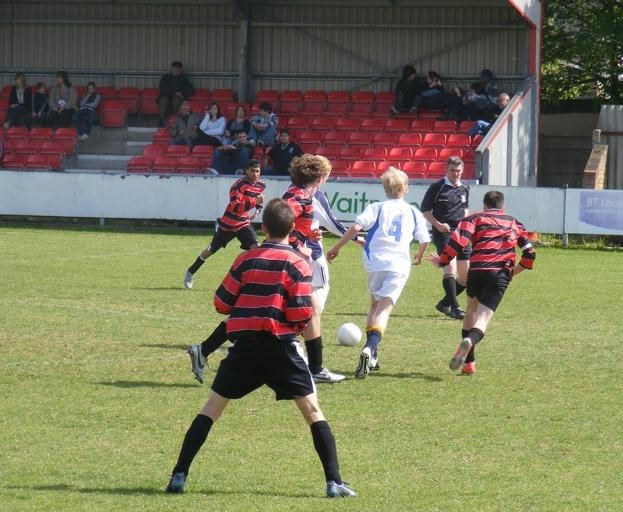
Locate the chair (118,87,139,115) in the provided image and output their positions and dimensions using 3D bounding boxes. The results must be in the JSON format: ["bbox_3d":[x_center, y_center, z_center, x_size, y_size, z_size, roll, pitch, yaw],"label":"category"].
[{"bbox_3d":[-4.743,-4.101,34.820,0.524,0.818,0.768,0,6,-2],"label":"chair"}]

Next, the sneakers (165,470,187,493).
[{"bbox_3d":[-1.515,2.582,15.059,0.158,0.223,0.132,23,11,5],"label":"sneakers"}]

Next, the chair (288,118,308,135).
[{"bbox_3d":[-0.323,-3.203,32.599,0.414,0.603,0.459,1,-2,1],"label":"chair"}]

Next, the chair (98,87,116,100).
[{"bbox_3d":[-5.386,-4.331,35.325,0.362,0.496,0.450,0,-4,-7],"label":"chair"}]

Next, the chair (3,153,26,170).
[{"bbox_3d":[-7.014,-2.240,31.574,0.519,0.333,0.990,3,6,-13],"label":"chair"}]

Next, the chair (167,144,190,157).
[{"bbox_3d":[-3.125,-2.481,31.486,0.555,0.279,0.451,4,5,-1],"label":"chair"}]

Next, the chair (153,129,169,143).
[{"bbox_3d":[-3.671,-2.968,32.830,0.393,0.346,0.595,4,6,-7],"label":"chair"}]

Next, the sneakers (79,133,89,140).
[{"bbox_3d":[-5.587,-2.945,32.837,0.232,0.108,0.103,-6,-17,29],"label":"sneakers"}]

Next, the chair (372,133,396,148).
[{"bbox_3d":[1.735,-2.767,31.557,0.414,0.436,0.332,0,-3,8],"label":"chair"}]

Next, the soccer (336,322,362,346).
[{"bbox_3d":[0.517,1.145,18.343,0.288,0.311,0.297,-1,37,-12],"label":"soccer"}]

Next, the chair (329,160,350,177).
[{"bbox_3d":[0.661,-1.967,29.963,0.375,0.405,0.371,0,-1,5],"label":"chair"}]

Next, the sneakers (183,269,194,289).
[{"bbox_3d":[-2.001,0.378,21.603,0.134,0.272,0.267,5,24,-22],"label":"sneakers"}]

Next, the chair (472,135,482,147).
[{"bbox_3d":[3.727,-2.622,30.332,0.199,0.311,0.293,2,2,20],"label":"chair"}]

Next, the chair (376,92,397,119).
[{"bbox_3d":[1.748,-3.821,33.541,0.524,0.785,0.621,2,1,7],"label":"chair"}]

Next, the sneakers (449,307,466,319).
[{"bbox_3d":[2.182,0.893,20.182,0.211,0.158,0.122,-1,8,13],"label":"sneakers"}]

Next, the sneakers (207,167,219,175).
[{"bbox_3d":[-2.161,-1.850,29.347,0.255,0.077,0.196,45,18,-1],"label":"sneakers"}]

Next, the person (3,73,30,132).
[{"bbox_3d":[-7.268,-3.866,33.332,0.635,1.375,0.651,3,5,-13],"label":"person"}]

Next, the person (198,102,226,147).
[{"bbox_3d":[-2.350,-2.999,31.561,0.737,1.224,0.700,-11,16,-44],"label":"person"}]

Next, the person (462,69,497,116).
[{"bbox_3d":[4.020,-3.782,31.598,0.694,1.360,0.829,-3,5,2],"label":"person"}]

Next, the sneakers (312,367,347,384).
[{"bbox_3d":[0.211,1.560,17.190,0.458,0.214,0.167,0,4,-7],"label":"sneakers"}]

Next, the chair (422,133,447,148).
[{"bbox_3d":[2.842,-2.678,30.777,0.579,0.291,0.280,7,6,27],"label":"chair"}]

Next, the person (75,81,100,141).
[{"bbox_3d":[-5.553,-3.622,33.239,0.572,1.428,1.075,3,5,-11],"label":"person"}]

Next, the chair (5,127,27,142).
[{"bbox_3d":[-7.190,-2.984,32.737,0.558,0.354,0.444,3,6,-13],"label":"chair"}]

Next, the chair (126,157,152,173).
[{"bbox_3d":[-3.952,-2.109,30.878,0.576,0.359,0.605,4,6,-5],"label":"chair"}]

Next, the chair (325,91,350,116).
[{"bbox_3d":[0.675,-3.909,33.994,0.549,0.769,0.652,1,2,5],"label":"chair"}]

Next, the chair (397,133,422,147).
[{"bbox_3d":[2.333,-2.727,31.188,0.648,0.316,0.293,9,7,37],"label":"chair"}]

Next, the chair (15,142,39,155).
[{"bbox_3d":[-6.786,-2.603,32.175,0.613,0.273,0.205,6,6,15],"label":"chair"}]

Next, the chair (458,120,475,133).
[{"bbox_3d":[3.618,-3.061,31.458,0.277,0.458,0.319,1,8,5],"label":"chair"}]

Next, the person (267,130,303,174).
[{"bbox_3d":[-0.615,-2.255,29.386,0.894,1.180,0.750,3,-1,9],"label":"person"}]

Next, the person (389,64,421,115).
[{"bbox_3d":[2.368,-4.085,32.820,0.694,1.205,0.841,4,5,4],"label":"person"}]

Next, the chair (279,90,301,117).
[{"bbox_3d":[-0.545,-3.982,34.272,0.536,0.815,0.649,1,-4,4],"label":"chair"}]

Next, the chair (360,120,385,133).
[{"bbox_3d":[1.470,-3.189,32.285,0.351,0.394,0.354,0,5,2],"label":"chair"}]
